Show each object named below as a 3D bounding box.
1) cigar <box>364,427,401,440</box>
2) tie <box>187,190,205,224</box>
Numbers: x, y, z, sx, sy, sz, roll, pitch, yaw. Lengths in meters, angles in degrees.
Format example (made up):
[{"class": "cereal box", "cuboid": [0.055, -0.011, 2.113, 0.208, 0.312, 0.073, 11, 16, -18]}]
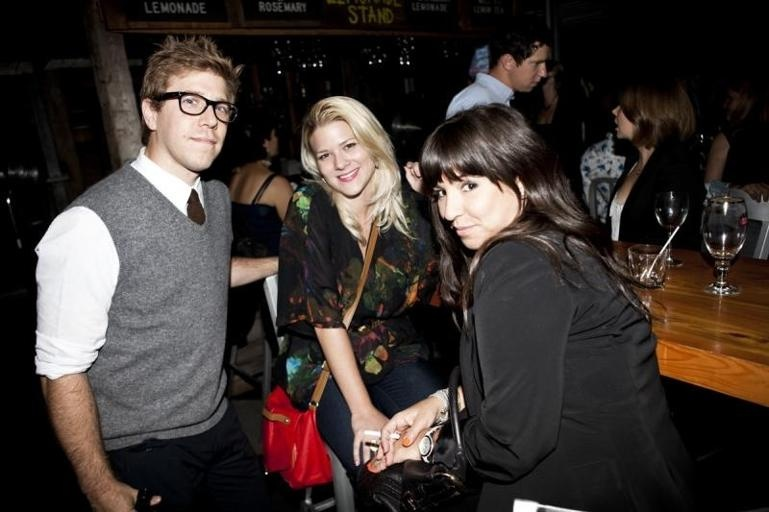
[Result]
[{"class": "cigar", "cuboid": [-0.003, 0.920, 2.641, 0.108, 0.035, 0.116, -5, 3, 26]}, {"class": "tie", "cuboid": [-0.952, -0.242, 2.616, 0.095, 0.167, 0.039, 6, -8, -28]}]
